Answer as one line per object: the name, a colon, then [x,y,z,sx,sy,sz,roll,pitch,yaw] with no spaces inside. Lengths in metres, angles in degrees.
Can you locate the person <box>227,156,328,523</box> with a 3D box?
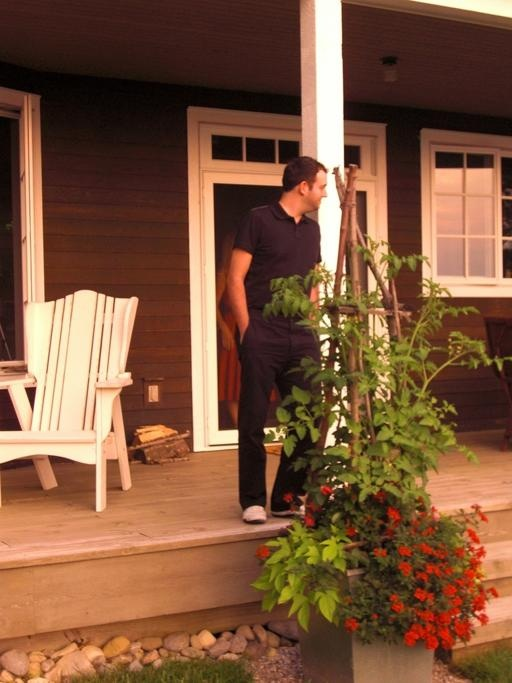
person: [0.101,-0.014,2.615,0.414,1.403,0.220,-2,5,-35]
